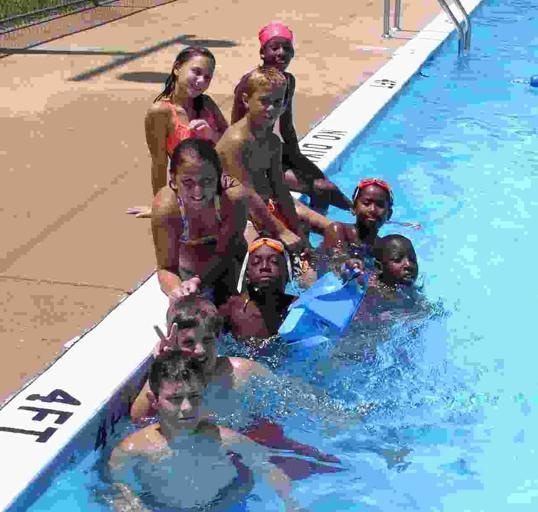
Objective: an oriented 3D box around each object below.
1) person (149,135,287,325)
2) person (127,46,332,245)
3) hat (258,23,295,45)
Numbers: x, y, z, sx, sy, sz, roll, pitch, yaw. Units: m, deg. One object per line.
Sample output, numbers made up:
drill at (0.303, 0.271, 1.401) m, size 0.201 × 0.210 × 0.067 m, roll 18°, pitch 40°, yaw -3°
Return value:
person at (-0.357, -0.163, 3.878) m, size 0.608 × 0.926 × 0.377 m, roll -16°, pitch 34°, yaw -18°
person at (-0.147, -0.930, 4.993) m, size 1.552 × 1.154 × 0.898 m, roll 13°, pitch 44°, yaw 15°
hat at (0.048, -1.677, 5.340) m, size 0.212 × 0.141 × 0.244 m, roll 1°, pitch 15°, yaw 0°
